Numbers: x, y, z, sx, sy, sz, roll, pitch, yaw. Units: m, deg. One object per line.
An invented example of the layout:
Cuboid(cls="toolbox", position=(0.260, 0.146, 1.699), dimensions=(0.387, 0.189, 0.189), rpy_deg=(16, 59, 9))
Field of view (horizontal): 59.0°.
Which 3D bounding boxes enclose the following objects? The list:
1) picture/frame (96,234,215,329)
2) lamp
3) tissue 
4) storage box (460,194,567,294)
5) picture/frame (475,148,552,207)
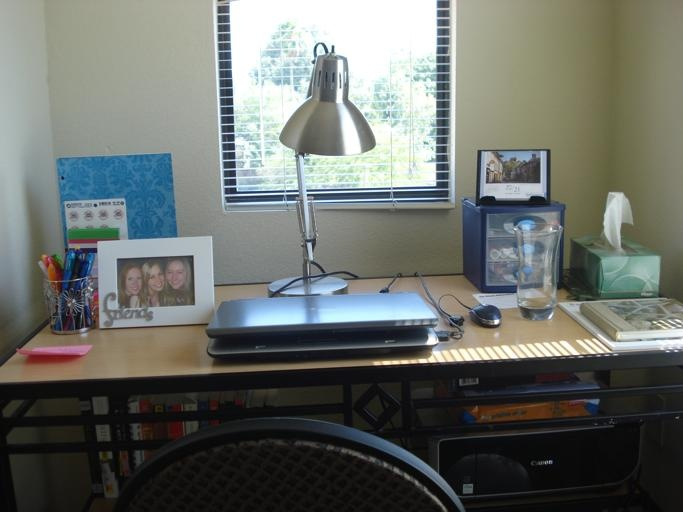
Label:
Cuboid(cls="picture/frame", position=(-0.603, 0.094, 1.971), dimensions=(0.287, 0.224, 0.013), rpy_deg=(-1, -4, -3))
Cuboid(cls="lamp", position=(-0.092, -0.285, 2.071), dimensions=(0.393, 0.854, 0.361), rpy_deg=(-6, 14, -8))
Cuboid(cls="tissue ", position=(0.994, -0.036, 2.164), dimensions=(0.193, 0.352, 0.360), rpy_deg=(-1, 8, 2))
Cuboid(cls="storage box", position=(0.679, -0.001, 2.252), dimensions=(0.307, 0.310, 0.344), rpy_deg=(-2, -10, 24))
Cuboid(cls="picture/frame", position=(0.642, -0.289, 2.165), dimensions=(0.277, 0.194, 0.167), rpy_deg=(6, 12, 43))
